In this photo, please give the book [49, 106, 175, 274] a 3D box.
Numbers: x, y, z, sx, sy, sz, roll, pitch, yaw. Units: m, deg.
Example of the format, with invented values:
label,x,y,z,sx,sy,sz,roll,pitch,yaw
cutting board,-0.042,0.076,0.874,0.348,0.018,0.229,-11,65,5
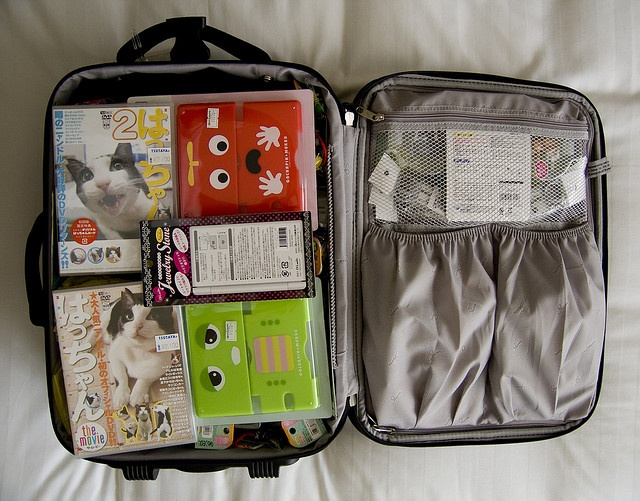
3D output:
label,x,y,z,sx,sy,sz,roll,pitch,yaw
book,-0.465,-0.138,1.599,0.258,0.401,0.039,-7,30,-24
